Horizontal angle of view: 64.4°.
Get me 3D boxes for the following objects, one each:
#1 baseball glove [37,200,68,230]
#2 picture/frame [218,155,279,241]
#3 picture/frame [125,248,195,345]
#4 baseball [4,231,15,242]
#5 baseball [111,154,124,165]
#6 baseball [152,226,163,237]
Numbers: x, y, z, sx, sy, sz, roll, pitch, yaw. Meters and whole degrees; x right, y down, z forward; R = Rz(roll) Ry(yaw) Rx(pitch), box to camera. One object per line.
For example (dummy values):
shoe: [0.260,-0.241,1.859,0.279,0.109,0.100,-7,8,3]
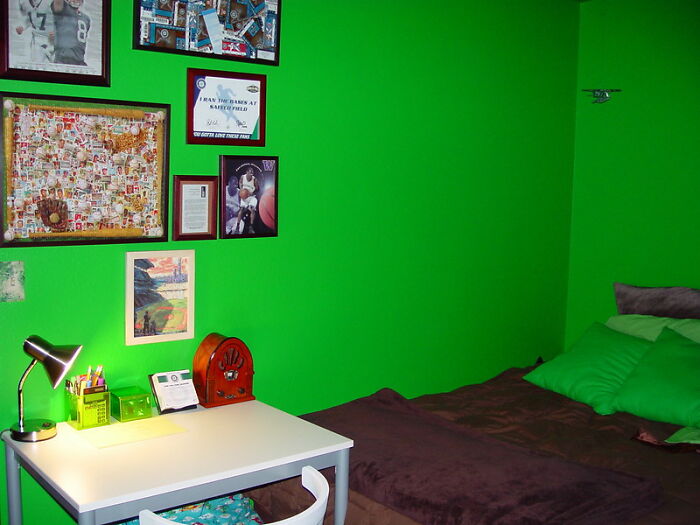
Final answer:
baseball glove: [-1.176,-0.186,2.193,0.110,0.106,0.045,3,7,-32]
picture/frame: [-0.494,-0.311,2.617,0.412,0.481,0.035,-3,5,-39]
picture/frame: [-0.849,0.142,2.431,0.433,0.550,0.038,-3,8,-36]
baseball: [-1.305,-0.097,2.120,0.037,0.035,0.036,1,8,-21]
baseball: [-0.966,-0.423,2.301,0.043,0.042,0.026,1,-32,-16]
baseball: [-0.840,-0.130,2.414,0.038,0.036,0.039,7,7,20]
